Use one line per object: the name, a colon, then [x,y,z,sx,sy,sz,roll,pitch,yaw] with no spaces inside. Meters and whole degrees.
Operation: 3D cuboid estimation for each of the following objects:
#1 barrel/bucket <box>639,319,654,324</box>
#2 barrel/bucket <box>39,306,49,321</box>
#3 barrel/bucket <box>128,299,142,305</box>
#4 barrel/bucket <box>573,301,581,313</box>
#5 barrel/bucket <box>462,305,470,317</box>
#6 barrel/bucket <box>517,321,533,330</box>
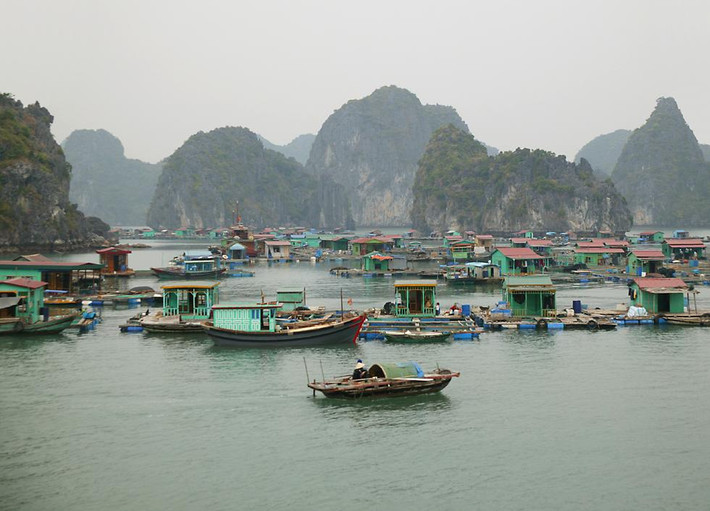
barrel/bucket: [22.476,5.098,65.258,1.160,0.449,0.285,-1,-3,-11]
barrel/bucket: [-23.737,4.431,64.299,0.526,0.963,1.362,0,-4,-29]
barrel/bucket: [-20.402,4.310,77.850,0.616,0.532,0.592,0,4,0]
barrel/bucket: [17.724,4.119,67.822,0.648,1.012,1.913,-3,-4,14]
barrel/bucket: [8.796,4.430,67.424,0.807,1.206,0.757,0,-1,0]
barrel/bucket: [12.821,5.346,63.790,1.232,0.635,0.560,-2,-3,2]
